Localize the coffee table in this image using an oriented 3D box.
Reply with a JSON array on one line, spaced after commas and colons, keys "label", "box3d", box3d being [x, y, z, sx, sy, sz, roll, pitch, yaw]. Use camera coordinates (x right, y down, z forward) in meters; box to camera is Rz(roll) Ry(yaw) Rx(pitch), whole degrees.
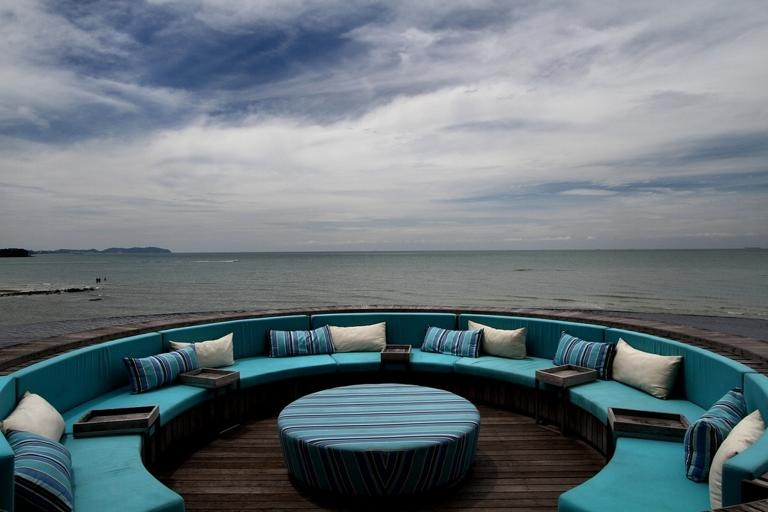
[{"label": "coffee table", "box3d": [-0.087, 1.954, 5.556, 2.231, 0.358, 1.967, -3, 3, -22]}]
